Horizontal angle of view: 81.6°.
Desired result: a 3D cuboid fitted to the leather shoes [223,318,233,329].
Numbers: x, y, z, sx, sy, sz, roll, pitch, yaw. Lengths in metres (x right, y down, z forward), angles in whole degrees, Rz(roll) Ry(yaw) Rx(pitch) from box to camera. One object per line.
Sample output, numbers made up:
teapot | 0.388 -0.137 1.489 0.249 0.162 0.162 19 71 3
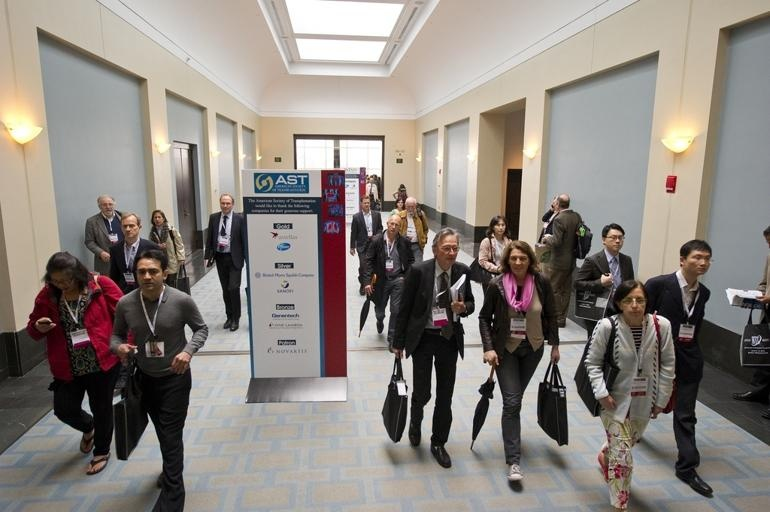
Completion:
leather shoes | -3.061 1.315 8.678 0.095 0.112 0.263 2 7 -1

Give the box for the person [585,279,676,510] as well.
person | 2.648 1.511 4.827 0.920 2.499 0.550 3 8 15

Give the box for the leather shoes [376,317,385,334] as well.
leather shoes | -0.088 1.324 8.530 0.122 0.317 0.221 -1 -9 -1

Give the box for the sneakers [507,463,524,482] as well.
sneakers | 1.504 2.485 5.123 0.108 0.113 0.287 -1 -4 2

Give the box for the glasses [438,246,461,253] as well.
glasses | 0.747 -0.079 5.151 0.234 0.093 0.123 -1 8 -10

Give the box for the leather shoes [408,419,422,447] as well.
leather shoes | 0.385 2.248 5.674 0.128 0.242 0.358 -1 43 -3

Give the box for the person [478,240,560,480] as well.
person | 1.552 1.212 5.222 0.902 2.751 0.570 3 8 13

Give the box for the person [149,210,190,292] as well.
person | -4.271 0.076 8.692 0.644 1.877 0.531 -3 10 -16

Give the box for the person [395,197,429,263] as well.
person | 0.563 -0.244 9.925 0.729 2.015 0.679 -2 2 16

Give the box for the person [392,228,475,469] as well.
person | 0.578 1.079 5.414 0.918 2.842 0.424 2 8 11

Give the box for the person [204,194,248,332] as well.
person | -3.087 0.119 8.595 0.701 2.572 0.752 -2 8 -22

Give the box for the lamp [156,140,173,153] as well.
lamp | -5.484 -2.698 11.029 0.097 0.255 0.396 3 13 28

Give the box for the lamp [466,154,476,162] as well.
lamp | 3.211 -3.639 16.501 0.431 0.211 0.616 2 10 0

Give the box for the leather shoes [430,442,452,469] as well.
leather shoes | 0.687 2.409 5.468 0.120 0.148 0.364 -2 12 -13

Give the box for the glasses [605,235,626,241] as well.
glasses | 3.288 -0.254 6.330 0.239 0.069 0.097 0 8 -9

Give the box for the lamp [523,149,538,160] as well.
lamp | 3.946 -2.746 12.021 0.287 0.228 0.278 -3 9 -19

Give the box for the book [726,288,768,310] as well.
book | 4.759 0.553 5.951 0.365 0.125 0.373 1 3 4

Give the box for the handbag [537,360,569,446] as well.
handbag | 1.991 1.709 5.240 0.390 1.077 0.315 8 10 43

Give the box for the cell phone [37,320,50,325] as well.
cell phone | -3.795 0.719 4.953 0.130 0.075 0.028 0 8 -5

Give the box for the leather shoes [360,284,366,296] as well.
leather shoes | -0.531 0.806 10.524 0.184 0.244 0.559 0 3 -3

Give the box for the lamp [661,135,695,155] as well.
lamp | 4.951 -1.901 7.574 0.166 0.321 0.548 -2 9 -20

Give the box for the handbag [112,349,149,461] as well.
handbag | -2.712 1.595 4.744 0.297 1.069 0.230 -3 9 -29

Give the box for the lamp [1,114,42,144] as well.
lamp | -5.686 -1.970 7.011 0.221 0.435 0.606 1 8 -1

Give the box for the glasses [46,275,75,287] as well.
glasses | -3.621 0.275 4.957 0.265 0.149 0.101 0 8 -6
